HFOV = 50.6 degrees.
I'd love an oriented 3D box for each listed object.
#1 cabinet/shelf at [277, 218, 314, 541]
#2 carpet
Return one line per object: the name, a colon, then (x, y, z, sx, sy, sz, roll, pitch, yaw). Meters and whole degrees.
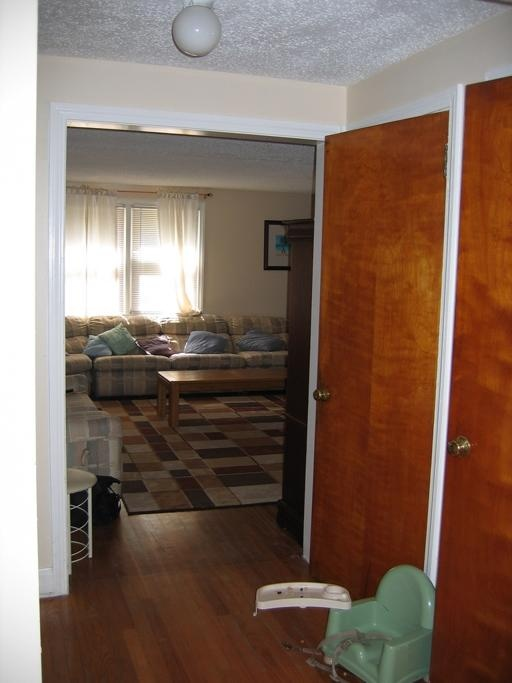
cabinet/shelf: (0.209, 0.231, 3.040, 0.114, 1.801, 0.414, 1, 5, -9)
carpet: (-0.314, 0.811, 5.036, 1.810, 0.245, 3.087, 1, 5, -14)
